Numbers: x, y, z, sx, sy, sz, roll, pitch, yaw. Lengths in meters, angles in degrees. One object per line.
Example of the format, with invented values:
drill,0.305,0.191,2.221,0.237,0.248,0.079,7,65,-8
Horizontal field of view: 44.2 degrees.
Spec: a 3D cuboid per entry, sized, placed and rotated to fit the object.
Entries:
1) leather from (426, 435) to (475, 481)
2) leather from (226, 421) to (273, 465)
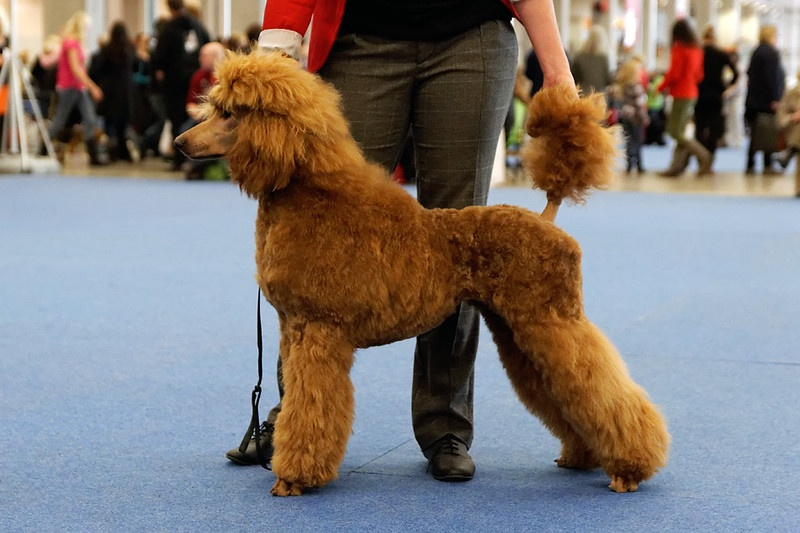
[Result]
leather,0.267,1.012,5.348,0.252,0.187,0.509,3,8,-9
leather,-0.775,0.968,5.267,0.376,0.155,0.132,4,-1,-37
